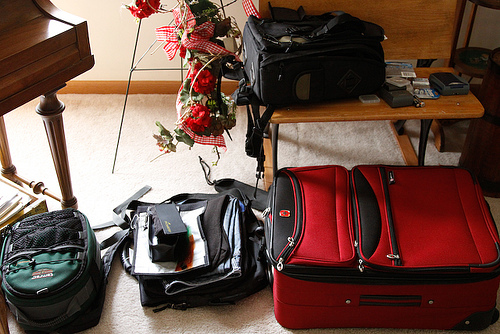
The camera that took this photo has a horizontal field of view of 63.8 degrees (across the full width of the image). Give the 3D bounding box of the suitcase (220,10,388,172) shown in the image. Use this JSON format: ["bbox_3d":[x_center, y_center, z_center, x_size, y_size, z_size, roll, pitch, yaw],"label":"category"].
[{"bbox_3d":[0.235,-0.375,2.134,0.857,0.413,0.704,-7,52,1],"label":"suitcase"}]

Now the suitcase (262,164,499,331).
[{"bbox_3d":[0.591,0.390,1.923,1.043,0.637,0.501,-3,24,0],"label":"suitcase"}]

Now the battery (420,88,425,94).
[{"bbox_3d":[0.878,-0.385,2.053,0.022,0.016,0.041,7,26,21],"label":"battery"}]

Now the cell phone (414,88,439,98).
[{"bbox_3d":[0.893,-0.377,2.057,0.125,0.037,0.079,-2,24,1],"label":"cell phone"}]

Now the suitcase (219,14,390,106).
[{"bbox_3d":[0.288,-0.547,1.957,0.658,0.278,0.497,-6,40,-4],"label":"suitcase"}]

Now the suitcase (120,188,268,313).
[{"bbox_3d":[-0.283,0.404,2.144,0.686,0.383,0.634,-6,24,-7],"label":"suitcase"}]

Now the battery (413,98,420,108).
[{"bbox_3d":[0.817,-0.316,1.987,0.026,0.017,0.045,-26,59,16],"label":"battery"}]
